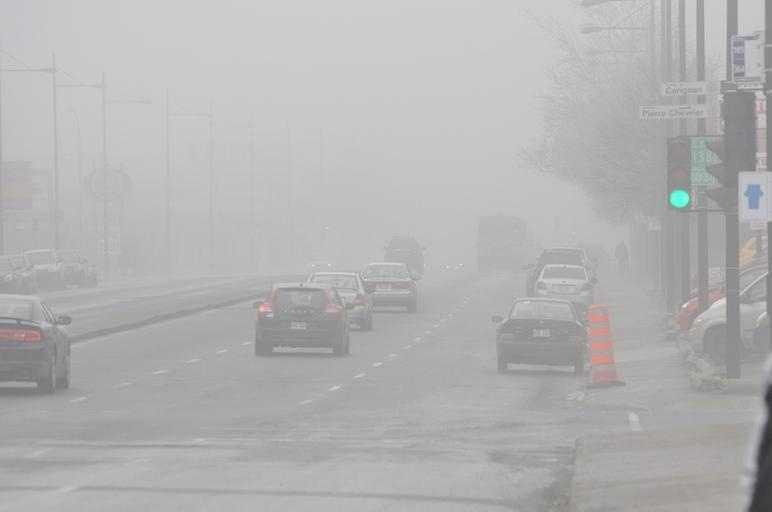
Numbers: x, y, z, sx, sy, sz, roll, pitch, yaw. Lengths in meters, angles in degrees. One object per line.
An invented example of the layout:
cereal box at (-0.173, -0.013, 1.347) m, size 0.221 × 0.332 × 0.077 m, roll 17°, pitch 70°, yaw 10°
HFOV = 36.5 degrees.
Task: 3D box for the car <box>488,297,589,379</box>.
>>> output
car at (3.452, 1.830, 26.217) m, size 1.998 × 1.576 × 1.658 m, roll -3°, pitch 7°, yaw 3°

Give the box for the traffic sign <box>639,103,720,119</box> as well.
traffic sign at (5.614, -2.753, 22.177) m, size 1.416 × 0.231 × 0.782 m, roll -6°, pitch 6°, yaw -24°

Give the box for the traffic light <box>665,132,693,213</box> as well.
traffic light at (5.696, -1.605, 22.684) m, size 0.481 × 1.416 × 0.701 m, roll -3°, pitch 7°, yaw 13°
